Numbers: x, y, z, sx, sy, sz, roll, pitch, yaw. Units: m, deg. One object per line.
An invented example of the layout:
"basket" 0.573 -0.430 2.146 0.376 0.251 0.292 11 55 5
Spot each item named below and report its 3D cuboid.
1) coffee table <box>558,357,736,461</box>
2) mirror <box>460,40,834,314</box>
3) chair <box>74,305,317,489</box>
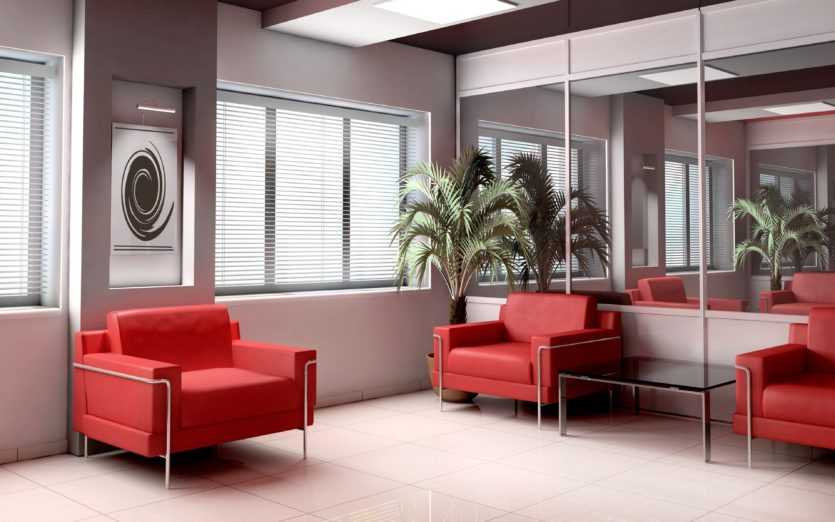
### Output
"coffee table" 2.432 1.701 6.347 1.261 0.711 1.693 -3 -15 37
"mirror" 3.040 -1.015 7.113 4.113 2.277 0.098 0 0 40
"chair" -2.310 1.162 5.984 1.431 1.153 1.947 1 -2 31
